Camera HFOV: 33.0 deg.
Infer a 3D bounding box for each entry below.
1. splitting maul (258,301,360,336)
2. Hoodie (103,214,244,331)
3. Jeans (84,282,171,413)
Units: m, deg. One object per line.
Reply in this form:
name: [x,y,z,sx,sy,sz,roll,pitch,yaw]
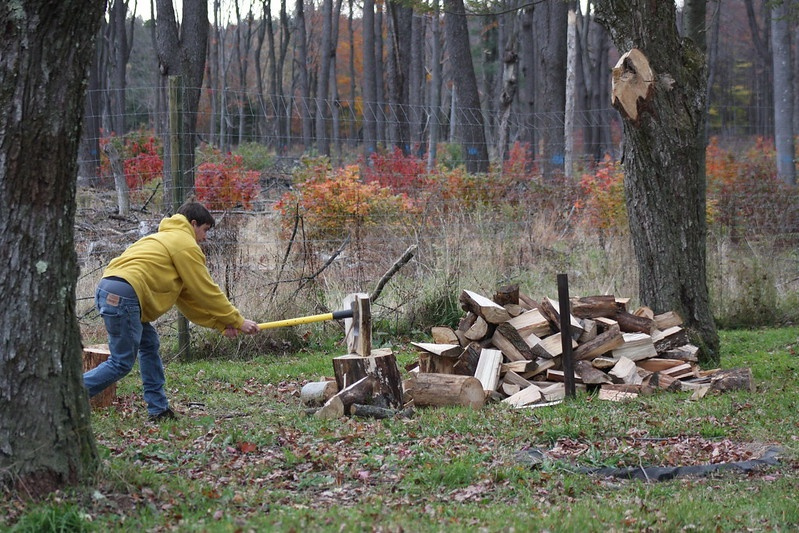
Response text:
splitting maul: [-1.713,0.924,24.232,2.400,0.278,0.307,-10,16,-22]
Hoodie: [-3.786,0.026,22.395,2.369,1.988,1.317,2,4,-29]
Jeans: [-4.446,1.338,21.837,1.314,2.340,0.530,-2,-3,-20]
